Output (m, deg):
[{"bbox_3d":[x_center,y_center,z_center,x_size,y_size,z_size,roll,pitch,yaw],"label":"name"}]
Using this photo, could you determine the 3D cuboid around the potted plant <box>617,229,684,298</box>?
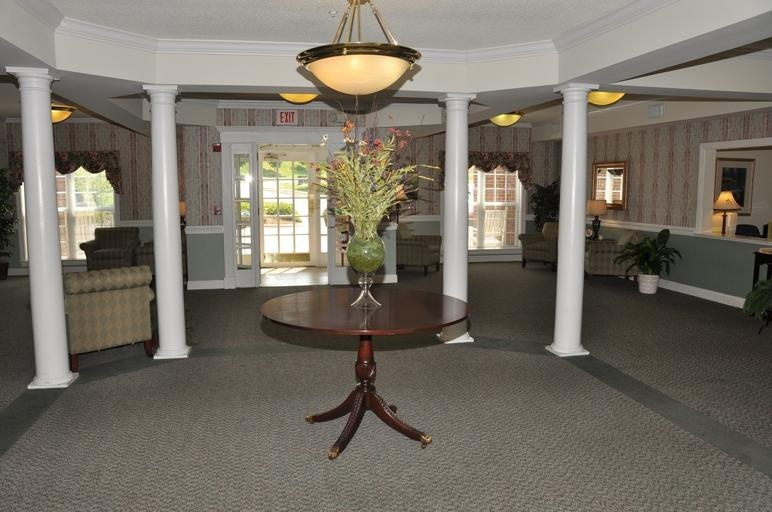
[{"bbox_3d":[4.966,0.078,9.386,1.087,0.978,1.022,-2,19,31],"label":"potted plant"}]

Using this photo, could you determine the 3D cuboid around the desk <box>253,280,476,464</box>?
[{"bbox_3d":[-0.164,1.013,4.331,1.811,1.018,1.670,4,-23,-15],"label":"desk"}]

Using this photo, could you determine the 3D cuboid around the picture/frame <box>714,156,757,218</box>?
[{"bbox_3d":[7.023,-1.488,9.949,1.600,1.799,0.141,-2,2,-29],"label":"picture/frame"}]

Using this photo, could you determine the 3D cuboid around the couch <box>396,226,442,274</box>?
[{"bbox_3d":[0.685,-0.241,11.252,1.262,0.886,1.258,-6,16,-31],"label":"couch"}]

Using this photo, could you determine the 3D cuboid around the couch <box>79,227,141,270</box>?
[{"bbox_3d":[-5.908,-0.179,10.716,1.104,0.877,0.770,0,12,-11],"label":"couch"}]

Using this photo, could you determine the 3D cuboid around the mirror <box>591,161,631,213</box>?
[{"bbox_3d":[5.036,-1.566,10.973,0.161,1.330,1.380,1,0,-19],"label":"mirror"}]

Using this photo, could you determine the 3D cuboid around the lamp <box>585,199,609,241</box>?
[{"bbox_3d":[4.681,-0.842,10.947,0.619,0.811,0.609,5,0,35],"label":"lamp"}]

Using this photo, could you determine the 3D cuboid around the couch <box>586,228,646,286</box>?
[{"bbox_3d":[4.474,0.013,10.220,1.360,0.859,1.291,0,0,-22],"label":"couch"}]
